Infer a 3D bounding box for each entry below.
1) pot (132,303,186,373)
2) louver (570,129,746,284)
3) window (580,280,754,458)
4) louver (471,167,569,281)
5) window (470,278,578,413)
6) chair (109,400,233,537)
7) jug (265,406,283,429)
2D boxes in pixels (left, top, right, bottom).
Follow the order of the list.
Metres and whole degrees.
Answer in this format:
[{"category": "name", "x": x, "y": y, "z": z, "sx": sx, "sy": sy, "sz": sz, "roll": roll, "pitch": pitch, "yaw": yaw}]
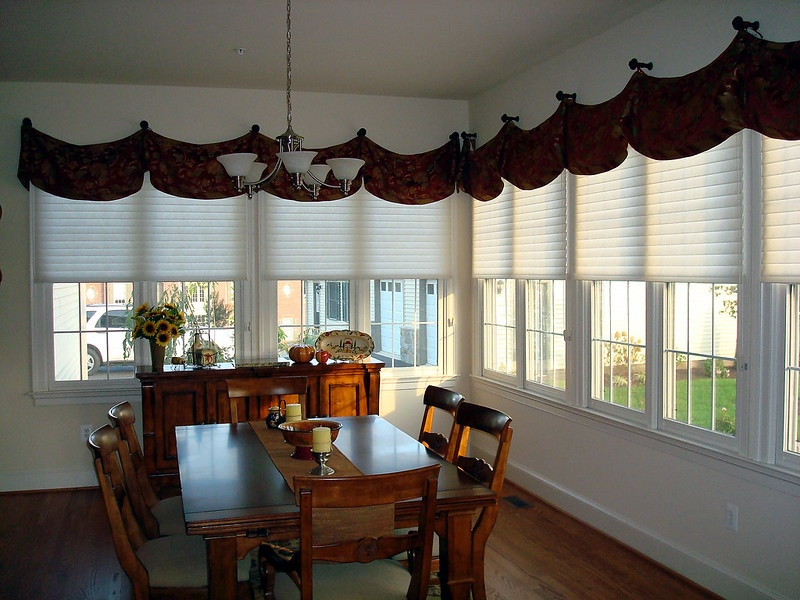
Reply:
[{"category": "pot", "x": -2.080, "y": 0.288, "z": 5.120, "sx": 0.351, "sy": 0.500, "sz": 0.402, "roll": -6, "pitch": 0, "yaw": 15}, {"category": "louver", "x": 1.672, "y": -0.555, "z": 4.107, "sx": 0.031, "sy": 0.866, "sz": 1.145, "roll": -6, "pitch": 5, "yaw": -41}, {"category": "window", "x": 1.768, "y": 0.359, "z": 4.215, "sx": 0.104, "sy": 1.096, "sz": 1.380, "roll": -4, "pitch": 5, "yaw": -25}, {"category": "louver", "x": 1.016, "y": -0.561, "z": 5.410, "sx": 0.034, "sy": 0.798, "sz": 1.041, "roll": -3, "pitch": 4, "yaw": -37}, {"category": "window", "x": 1.116, "y": 0.396, "z": 5.332, "sx": 0.147, "sy": 0.867, "sz": 1.148, "roll": -2, "pitch": 2, "yaw": -23}, {"category": "chair", "x": -1.402, "y": 0.939, "z": 3.957, "sx": 0.480, "sy": 0.789, "sz": 0.496, "roll": -21, "pitch": -17, "yaw": 13}, {"category": "jug", "x": -0.810, "y": 0.758, "z": 3.956, "sx": 0.113, "sy": 0.119, "sz": 0.118, "roll": 1, "pitch": -4, "yaw": -1}]
